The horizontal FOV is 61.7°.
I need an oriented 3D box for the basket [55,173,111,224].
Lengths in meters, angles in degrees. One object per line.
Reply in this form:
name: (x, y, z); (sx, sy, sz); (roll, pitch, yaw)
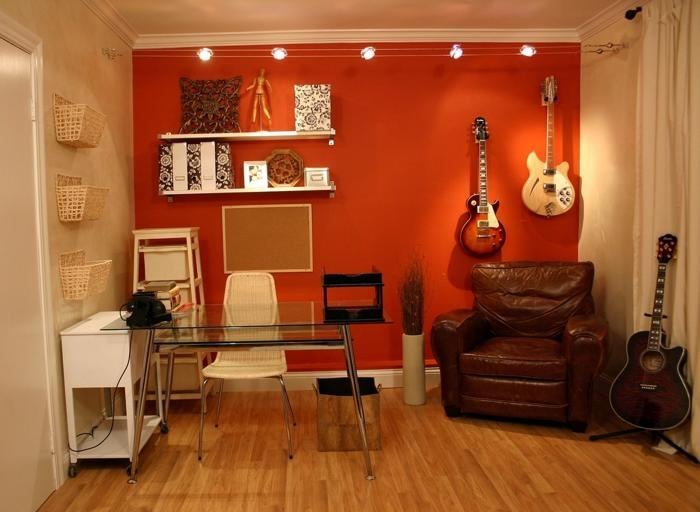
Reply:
basket: (-1.871, -0.364, 4.156); (0.261, 0.390, 0.446); (0, 0, 0)

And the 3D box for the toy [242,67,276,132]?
toy: (-0.822, -1.376, 5.176); (0.244, 0.525, 0.149); (-1, 14, 1)

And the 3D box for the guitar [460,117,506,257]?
guitar: (1.193, -0.600, 5.246); (0.434, 1.237, 0.343); (-1, 14, 1)

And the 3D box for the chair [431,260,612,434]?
chair: (1.474, 0.731, 5.002); (1.420, 1.409, 1.226); (0, 0, 22)

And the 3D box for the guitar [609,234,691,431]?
guitar: (2.206, 0.546, 4.105); (0.577, 1.279, 0.450); (-11, 17, -35)

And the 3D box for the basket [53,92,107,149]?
basket: (-1.920, -0.920, 4.233); (0.252, 0.393, 0.463); (0, 1, 3)

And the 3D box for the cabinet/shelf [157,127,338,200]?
cabinet/shelf: (-0.876, -0.768, 5.182); (1.471, 0.656, 0.430); (-4, 4, -16)

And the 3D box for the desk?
desk: (-0.654, 0.893, 4.087); (1.750, 1.138, 0.580); (-1, 14, 0)

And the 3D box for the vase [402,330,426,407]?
vase: (0.538, 0.950, 4.949); (0.182, 0.573, 0.215); (0, 14, 5)

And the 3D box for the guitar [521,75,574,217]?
guitar: (1.768, -0.962, 5.182); (0.443, 1.191, 0.256); (3, 14, 17)
